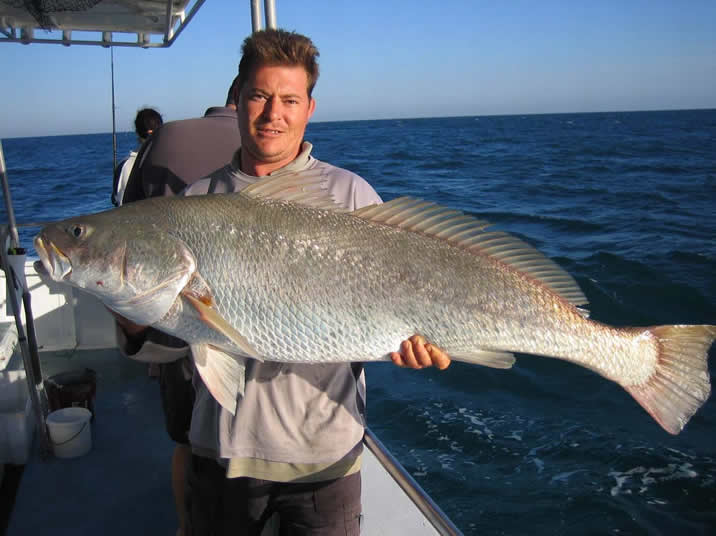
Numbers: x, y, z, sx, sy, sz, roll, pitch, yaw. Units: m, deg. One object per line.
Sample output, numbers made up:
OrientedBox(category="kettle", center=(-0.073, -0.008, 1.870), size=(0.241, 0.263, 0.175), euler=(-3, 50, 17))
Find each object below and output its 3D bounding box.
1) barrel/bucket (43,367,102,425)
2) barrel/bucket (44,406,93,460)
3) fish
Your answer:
OrientedBox(category="barrel/bucket", center=(-2.506, 1.100, 5.261), size=(0.597, 0.299, 0.485), euler=(-1, 3, -30))
OrientedBox(category="barrel/bucket", center=(-2.279, 1.310, 4.846), size=(0.464, 0.254, 0.456), euler=(3, 1, 0))
OrientedBox(category="fish", center=(0.046, 0.156, 2.997), size=(3.254, 1.224, 0.610), euler=(2, 23, -2))
